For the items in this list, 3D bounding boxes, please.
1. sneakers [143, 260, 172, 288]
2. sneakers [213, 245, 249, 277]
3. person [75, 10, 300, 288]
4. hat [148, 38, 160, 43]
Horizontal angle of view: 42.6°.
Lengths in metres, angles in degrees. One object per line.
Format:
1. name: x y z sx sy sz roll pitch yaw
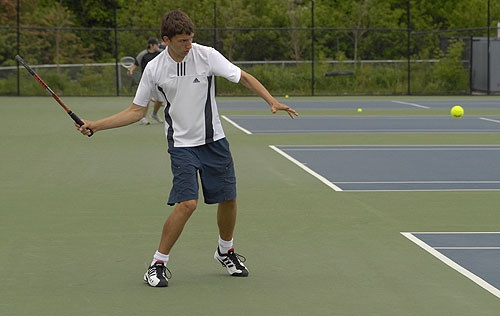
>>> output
1. sneakers: -0.998 1.237 6.971 0.305 0.273 0.303 -6 13 -15
2. sneakers: -0.155 1.159 7.237 0.203 0.203 0.460 -26 50 -38
3. person: -0.606 -0.119 6.982 1.608 2.931 0.621 -6 13 -13
4. hat: -2.372 -2.903 15.869 0.178 0.177 0.144 -2 7 -8
